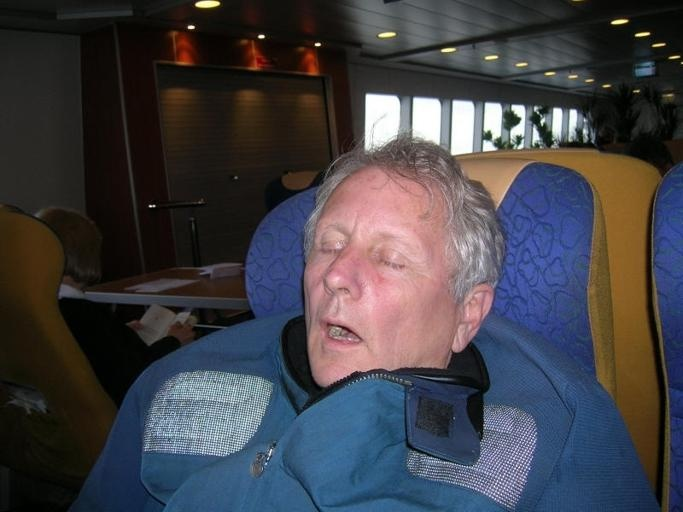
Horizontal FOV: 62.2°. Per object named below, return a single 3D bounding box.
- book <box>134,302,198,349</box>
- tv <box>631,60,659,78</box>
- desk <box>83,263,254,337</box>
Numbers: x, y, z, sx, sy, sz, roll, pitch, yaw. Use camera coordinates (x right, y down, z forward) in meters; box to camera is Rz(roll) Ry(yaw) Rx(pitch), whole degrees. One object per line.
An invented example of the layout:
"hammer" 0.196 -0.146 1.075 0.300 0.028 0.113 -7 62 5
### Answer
"book" -0.877 0.324 2.778 0.208 0.220 0.080 25 -15 16
"tv" 4.512 -2.812 8.475 0.185 0.322 0.363 -7 15 -25
"desk" -0.942 0.289 3.582 0.848 0.331 1.300 -15 0 -12
